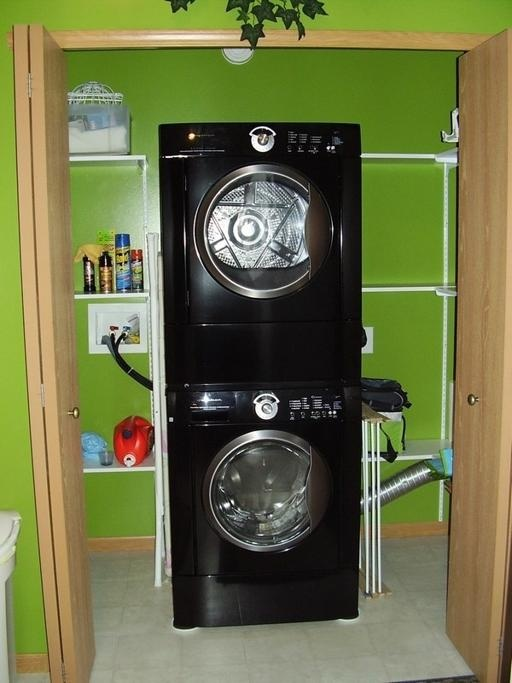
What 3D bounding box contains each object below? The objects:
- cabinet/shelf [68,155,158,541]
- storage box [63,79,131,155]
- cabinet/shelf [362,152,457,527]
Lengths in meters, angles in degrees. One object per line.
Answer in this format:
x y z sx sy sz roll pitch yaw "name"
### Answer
-0.648 0.121 2.878 0.236 1.886 0.430 1 12 -7 "cabinet/shelf"
-0.675 -0.983 2.674 0.267 0.380 0.313 -2 3 -16 "storage box"
0.752 0.036 2.906 0.482 1.806 0.369 -1 3 -4 "cabinet/shelf"
